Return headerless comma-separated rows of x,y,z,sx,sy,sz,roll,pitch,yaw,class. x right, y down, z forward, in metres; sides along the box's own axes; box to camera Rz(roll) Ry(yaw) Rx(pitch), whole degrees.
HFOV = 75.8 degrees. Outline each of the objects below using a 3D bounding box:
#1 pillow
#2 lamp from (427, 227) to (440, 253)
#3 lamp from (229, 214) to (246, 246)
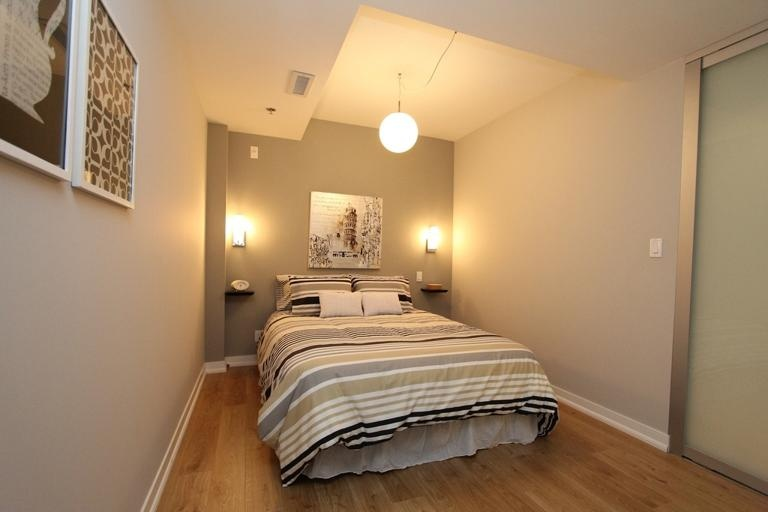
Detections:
-0.465,0.415,5.502,1.418,0.414,0.676,-3,13,-20,pillow
0.647,-0.212,6.285,0.212,0.343,0.102,-5,14,-24,lamp
-1.590,-0.280,5.421,0.176,0.350,0.130,-3,13,-18,lamp
